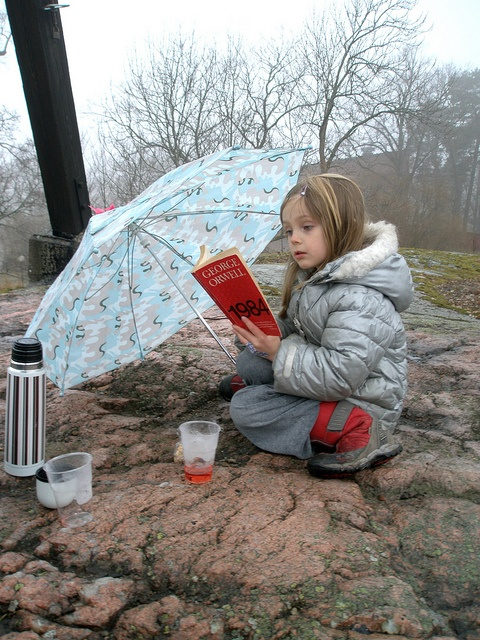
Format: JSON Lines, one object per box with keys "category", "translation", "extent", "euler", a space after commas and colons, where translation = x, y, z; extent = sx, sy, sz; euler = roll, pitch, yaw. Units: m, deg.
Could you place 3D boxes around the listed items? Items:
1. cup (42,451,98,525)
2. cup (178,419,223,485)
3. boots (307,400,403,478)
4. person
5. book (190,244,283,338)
{"category": "cup", "translation": [-0.557, 0.543, 1.616], "extent": [0.145, 0.161, 0.272], "euler": [-5, 12, -18]}
{"category": "cup", "translation": [-0.156, 0.491, 1.799], "extent": [0.163, 0.179, 0.145], "euler": [-2, -4, -24]}
{"category": "boots", "translation": [0.401, 0.442, 1.840], "extent": [0.382, 0.255, 0.128], "euler": [-12, -28, -25]}
{"category": "person", "translation": [0.319, -0.025, 2.114], "extent": [0.833, 1.097, 1.055], "euler": [0, 8, -20]}
{"category": "book", "translation": [0.039, -0.144, 1.754], "extent": [0.272, 0.360, 0.114], "euler": [-11, 43, 39]}
